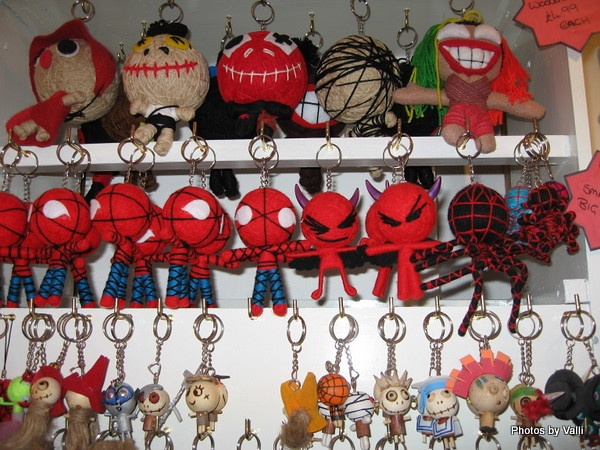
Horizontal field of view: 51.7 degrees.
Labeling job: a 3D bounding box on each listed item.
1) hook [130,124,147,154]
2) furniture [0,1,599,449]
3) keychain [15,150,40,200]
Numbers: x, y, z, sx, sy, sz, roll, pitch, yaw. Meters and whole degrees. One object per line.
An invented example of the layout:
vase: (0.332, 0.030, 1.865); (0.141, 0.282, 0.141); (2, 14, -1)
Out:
hook: (-0.317, -0.167, 1.200); (0.013, 0.054, 0.036); (-9, 11, -33)
furniture: (-0.009, 0.072, 1.631); (1.471, 0.660, 0.355); (-1, -6, 3)
keychain: (-0.547, -0.098, 1.247); (0.049, 0.123, 0.023); (-4, -2, 7)
